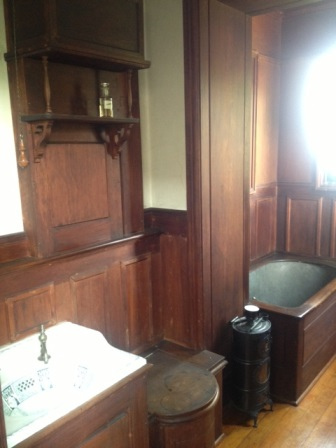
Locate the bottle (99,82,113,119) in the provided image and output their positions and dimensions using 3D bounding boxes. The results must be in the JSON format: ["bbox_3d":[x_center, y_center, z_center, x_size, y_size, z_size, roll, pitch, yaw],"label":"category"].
[{"bbox_3d":[-0.298,-0.586,1.709,0.058,0.157,0.102,-5,11,-12],"label":"bottle"}]
